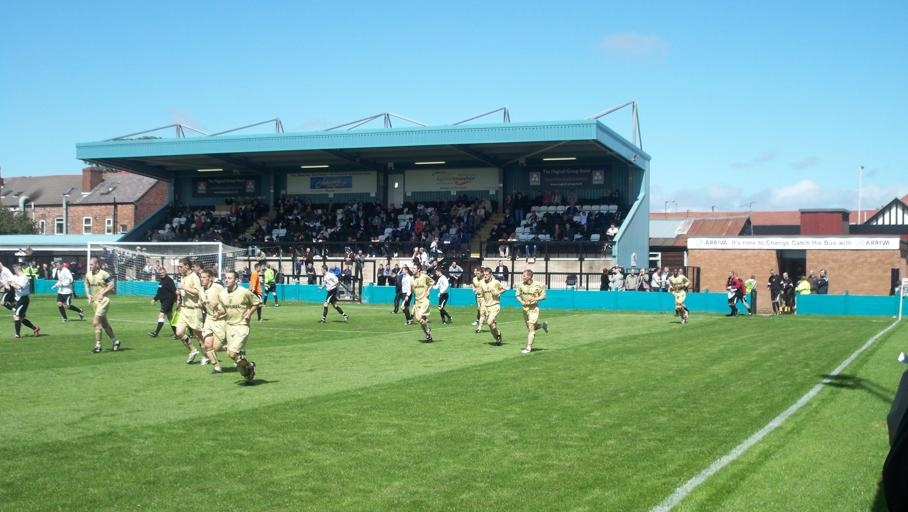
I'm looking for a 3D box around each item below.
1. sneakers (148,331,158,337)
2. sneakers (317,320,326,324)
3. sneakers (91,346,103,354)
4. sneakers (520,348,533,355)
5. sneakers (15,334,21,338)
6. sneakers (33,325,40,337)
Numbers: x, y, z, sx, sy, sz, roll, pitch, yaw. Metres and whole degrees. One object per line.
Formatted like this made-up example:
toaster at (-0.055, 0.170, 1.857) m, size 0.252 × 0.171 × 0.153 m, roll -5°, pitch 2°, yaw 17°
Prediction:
sneakers at (-10.287, 2.643, 30.148) m, size 0.232 × 0.171 × 0.323 m, roll -3°, pitch 10°, yaw -18°
sneakers at (-5.324, 2.585, 35.480) m, size 0.357 × 0.213 × 0.117 m, roll 2°, pitch -3°, yaw -2°
sneakers at (-10.859, 2.808, 26.829) m, size 0.355 × 0.213 × 0.189 m, roll 7°, pitch -11°, yaw -22°
sneakers at (2.215, 2.906, 27.255) m, size 0.313 × 0.268 × 0.140 m, roll 2°, pitch -12°, yaw 1°
sneakers at (-14.800, 2.698, 29.884) m, size 0.141 × 0.093 × 0.545 m, roll -5°, pitch 10°, yaw -28°
sneakers at (-14.516, 2.588, 30.638) m, size 0.148 × 0.362 × 0.175 m, roll -1°, pitch -3°, yaw -1°
